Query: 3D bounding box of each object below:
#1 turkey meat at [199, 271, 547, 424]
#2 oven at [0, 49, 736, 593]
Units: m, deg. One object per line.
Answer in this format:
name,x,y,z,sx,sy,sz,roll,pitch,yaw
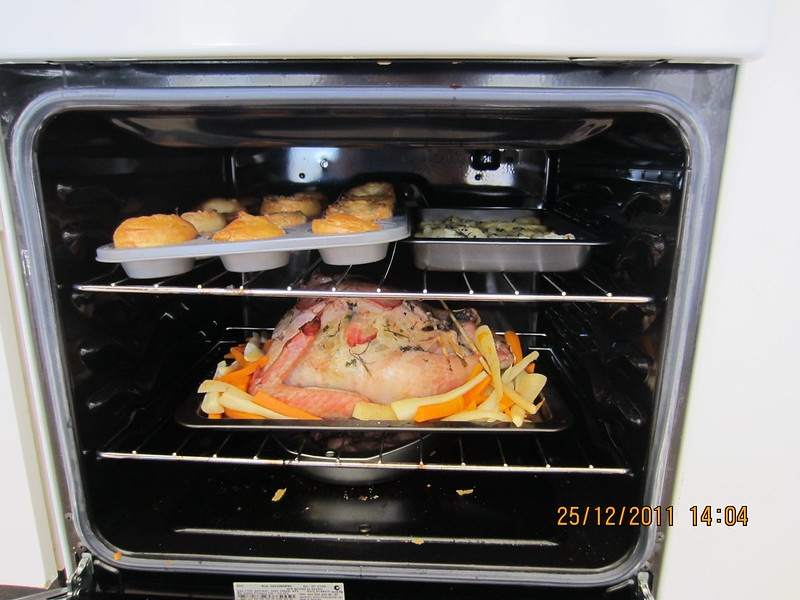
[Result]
turkey meat,-0.083,0.103,1.757,0.987,0.202,0.551,-4,28,7
oven,-0.083,0.081,1.456,1.416,0.881,0.626,1,27,4
